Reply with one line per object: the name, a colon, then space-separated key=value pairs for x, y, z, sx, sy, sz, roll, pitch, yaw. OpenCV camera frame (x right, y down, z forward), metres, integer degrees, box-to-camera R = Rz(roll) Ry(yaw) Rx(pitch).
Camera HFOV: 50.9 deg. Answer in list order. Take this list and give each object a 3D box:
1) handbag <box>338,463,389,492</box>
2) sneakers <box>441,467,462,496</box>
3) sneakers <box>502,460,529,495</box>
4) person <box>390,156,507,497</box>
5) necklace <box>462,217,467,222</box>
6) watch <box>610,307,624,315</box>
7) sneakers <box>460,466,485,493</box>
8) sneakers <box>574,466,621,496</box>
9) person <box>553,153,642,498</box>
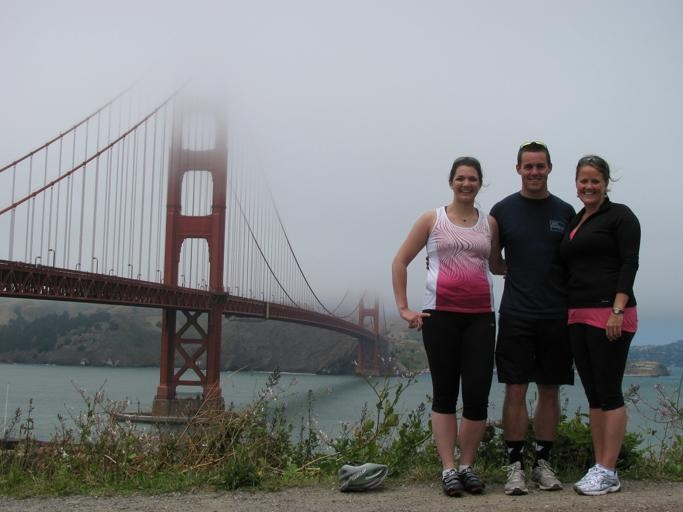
handbag: x=0.141 y=1.447 z=4.759 sx=0.243 sy=0.108 sz=0.183 roll=-4 pitch=5 yaw=-7
sneakers: x=0.692 y=1.415 z=4.512 sx=0.151 sy=0.157 sz=0.125 roll=-5 pitch=-7 yaw=22
sneakers: x=1.109 y=1.403 z=4.576 sx=0.146 sy=0.187 sz=0.257 roll=-3 pitch=-7 yaw=11
person: x=0.677 y=0.435 z=4.644 sx=0.618 sy=2.129 sz=0.199 roll=-2 pitch=-7 yaw=2
necklace: x=0.803 y=-0.233 z=4.681 sx=0.027 sy=0.028 sz=0.011 roll=-2 pitch=-7 yaw=-5
watch: x=1.721 y=0.346 z=4.463 sx=0.055 sy=0.035 sz=0.057 roll=4 pitch=-9 yaw=1
sneakers: x=0.823 y=1.413 z=4.533 sx=0.147 sy=0.157 sz=0.125 roll=-3 pitch=-7 yaw=9
sneakers: x=1.613 y=1.400 z=4.498 sx=0.339 sy=0.167 sz=0.133 roll=6 pitch=-13 yaw=-29
person: x=1.694 y=0.418 z=4.595 sx=0.480 sy=2.141 sz=0.274 roll=-5 pitch=-8 yaw=26
